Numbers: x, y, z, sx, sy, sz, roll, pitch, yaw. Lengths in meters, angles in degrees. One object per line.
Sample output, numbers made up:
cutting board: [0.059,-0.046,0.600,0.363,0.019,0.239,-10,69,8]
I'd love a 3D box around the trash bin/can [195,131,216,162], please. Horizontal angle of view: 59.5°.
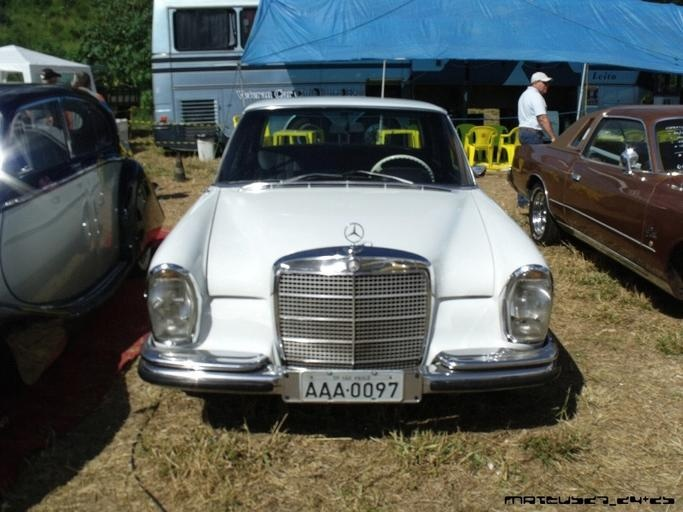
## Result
trash bin/can: [-3.294,-2.616,14.375,0.505,0.723,0.555,4,22,4]

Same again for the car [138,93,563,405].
car: [0.050,-0.221,4.312,2.598,1.563,2.145,-1,20,0]
